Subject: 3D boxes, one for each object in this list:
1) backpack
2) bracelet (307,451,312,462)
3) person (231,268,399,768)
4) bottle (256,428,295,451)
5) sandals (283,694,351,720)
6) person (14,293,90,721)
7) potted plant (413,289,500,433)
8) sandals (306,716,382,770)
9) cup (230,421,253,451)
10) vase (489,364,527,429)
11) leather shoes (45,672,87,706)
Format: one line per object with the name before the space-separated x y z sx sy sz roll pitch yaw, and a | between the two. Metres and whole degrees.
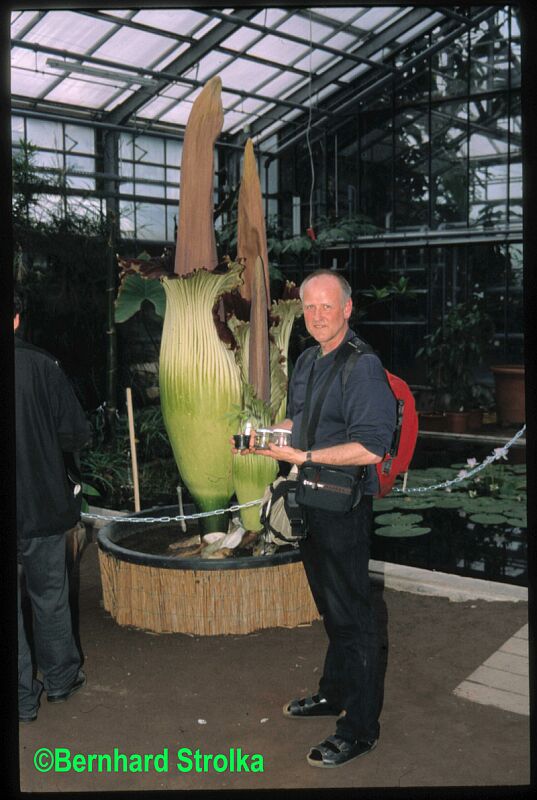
backpack | 0.356 0.041 2.447 0.267 0.379 0.207 7 -16 45
bracelet | 0.114 0.161 2.163 0.014 0.025 0.024 -5 -16 1
person | 0.186 0.336 2.352 0.428 1.447 0.526 0 4 10
bottle | 0.008 0.119 2.334 0.059 0.046 0.098 0 3 -31
sandals | 0.161 0.996 2.479 0.209 0.079 0.077 4 1 3
person | -0.775 0.357 2.717 0.263 1.412 0.812 -2 4 -15
potted plant | 2.683 -0.706 10.788 0.987 1.725 2.196 0 4 19
sandals | 0.209 1.014 2.200 0.262 0.107 0.095 -6 10 -33
cup | -0.098 0.139 2.674 0.057 0.096 0.093 -2 -3 35
vase | 3.108 -0.027 9.804 0.382 0.797 0.696 0 4 16
leather shoes | -0.712 1.018 2.679 0.048 0.055 0.144 4 9 22
